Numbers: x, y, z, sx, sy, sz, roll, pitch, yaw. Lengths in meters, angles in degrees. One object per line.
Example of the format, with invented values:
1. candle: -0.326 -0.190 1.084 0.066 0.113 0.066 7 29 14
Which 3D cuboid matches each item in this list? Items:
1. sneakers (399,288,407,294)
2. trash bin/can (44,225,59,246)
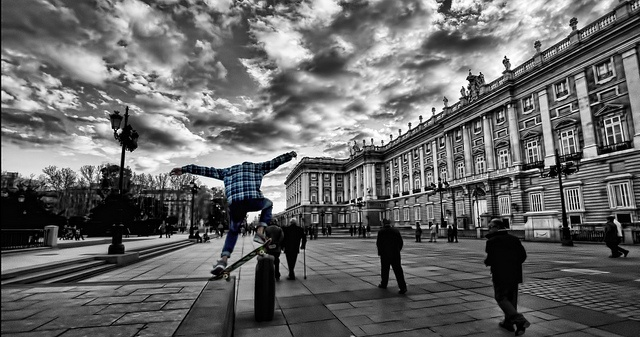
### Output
1. sneakers: 3.967 5.774 15.973 0.350 0.176 0.198 -16 -19 35
2. trash bin/can: -19.627 4.871 24.431 0.677 1.475 0.892 1 -3 22
